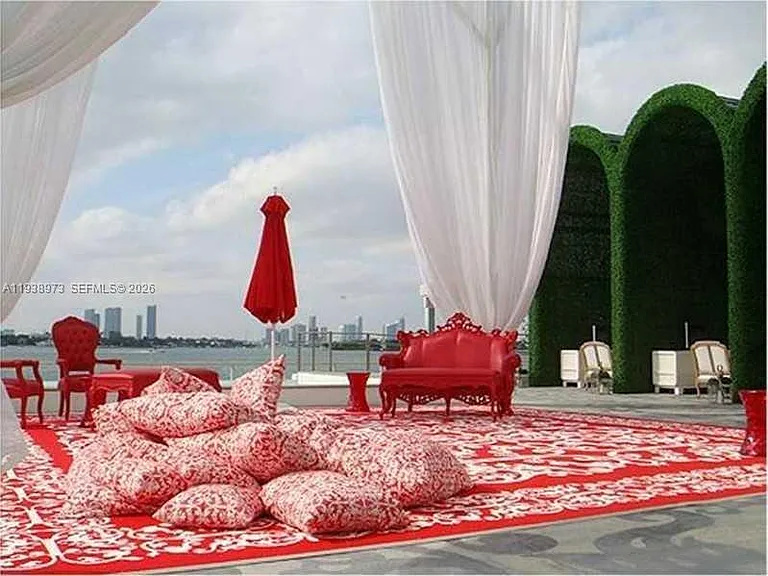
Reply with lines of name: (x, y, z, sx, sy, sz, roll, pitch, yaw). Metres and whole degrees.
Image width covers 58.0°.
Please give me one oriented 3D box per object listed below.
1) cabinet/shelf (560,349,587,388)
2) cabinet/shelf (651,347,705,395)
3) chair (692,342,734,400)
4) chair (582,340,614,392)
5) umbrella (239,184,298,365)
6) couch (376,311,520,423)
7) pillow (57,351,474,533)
cabinet/shelf: (3.316, 1.436, 12.398, 0.412, 0.642, 0.509, 2, -7, 3)
cabinet/shelf: (4.633, 1.297, 10.768, 0.661, 0.629, 0.491, 1, -5, -21)
chair: (4.470, 1.121, 9.452, 0.438, 0.804, 1.393, -5, -7, 24)
chair: (3.482, 1.292, 10.936, 0.617, 0.892, 0.658, -4, -7, 5)
umbrella: (-1.280, -0.348, 7.770, 0.572, 1.448, 0.329, 1, -7, -20)
couch: (0.673, 0.827, 7.297, 1.551, 1.016, 0.781, -2, -5, 24)
pillow: (-0.617, 0.701, 3.306, 1.825, 0.759, 0.812, -3, -7, 8)
